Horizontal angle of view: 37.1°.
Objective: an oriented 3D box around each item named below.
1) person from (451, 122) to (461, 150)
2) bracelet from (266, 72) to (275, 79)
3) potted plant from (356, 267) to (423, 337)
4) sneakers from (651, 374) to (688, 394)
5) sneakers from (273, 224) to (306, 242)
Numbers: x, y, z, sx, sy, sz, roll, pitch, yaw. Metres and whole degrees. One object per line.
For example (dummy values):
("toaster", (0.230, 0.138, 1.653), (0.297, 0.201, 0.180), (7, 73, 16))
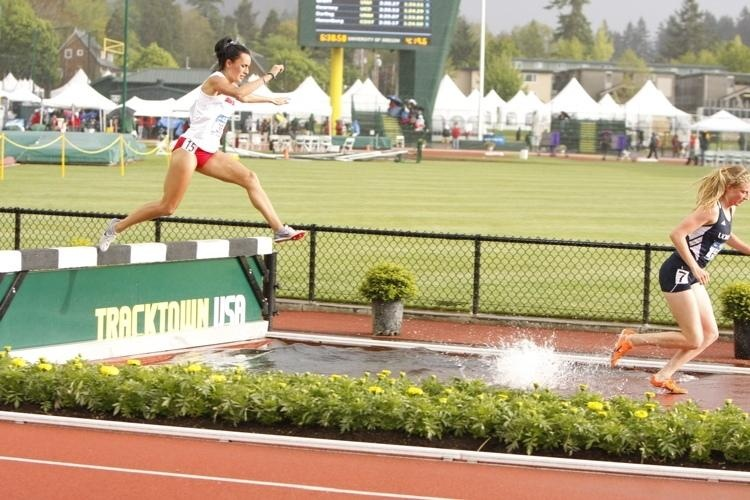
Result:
("person", (4.831, -6.686, 66.135), (0.535, 1.528, 1.260), (1, 9, 2))
("bracelet", (-1.262, -2.097, 13.667), (0.098, 0.038, 0.100), (22, -12, 42))
("potted plant", (0.154, 0.708, 16.307), (0.885, 1.107, 0.990), (5, 4, 9))
("sneakers", (3.605, 1.671, 13.768), (0.491, 0.212, 0.178), (14, 5, 8))
("sneakers", (-1.125, -0.191, 14.616), (0.459, 0.211, 0.184), (-2, 3, 3))
